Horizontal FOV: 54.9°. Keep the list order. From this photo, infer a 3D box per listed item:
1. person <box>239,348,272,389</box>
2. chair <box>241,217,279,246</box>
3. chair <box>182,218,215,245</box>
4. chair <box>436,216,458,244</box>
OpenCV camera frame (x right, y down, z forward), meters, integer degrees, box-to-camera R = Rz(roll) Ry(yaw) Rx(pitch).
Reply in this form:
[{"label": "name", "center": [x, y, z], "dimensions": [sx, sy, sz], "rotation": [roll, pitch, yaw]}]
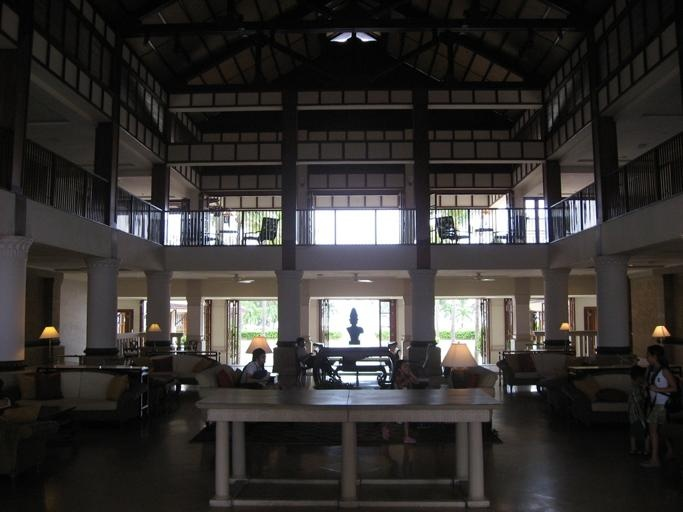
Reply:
[{"label": "person", "center": [-1.541, 2.097, 12.084], "dimensions": [0.634, 0.782, 0.566], "rotation": [6, 3, -31]}, {"label": "chair", "center": [-2.113, -0.652, 17.460], "dimensions": [0.722, 1.111, 0.696], "rotation": [1, -1, 21]}, {"label": "chair", "center": [-3.747, -0.582, 17.440], "dimensions": [0.715, 0.992, 0.712], "rotation": [2, -5, -29]}, {"label": "chair", "center": [2.745, -0.698, 17.086], "dimensions": [0.490, 0.727, 0.243], "rotation": [-5, -9, 12]}]
